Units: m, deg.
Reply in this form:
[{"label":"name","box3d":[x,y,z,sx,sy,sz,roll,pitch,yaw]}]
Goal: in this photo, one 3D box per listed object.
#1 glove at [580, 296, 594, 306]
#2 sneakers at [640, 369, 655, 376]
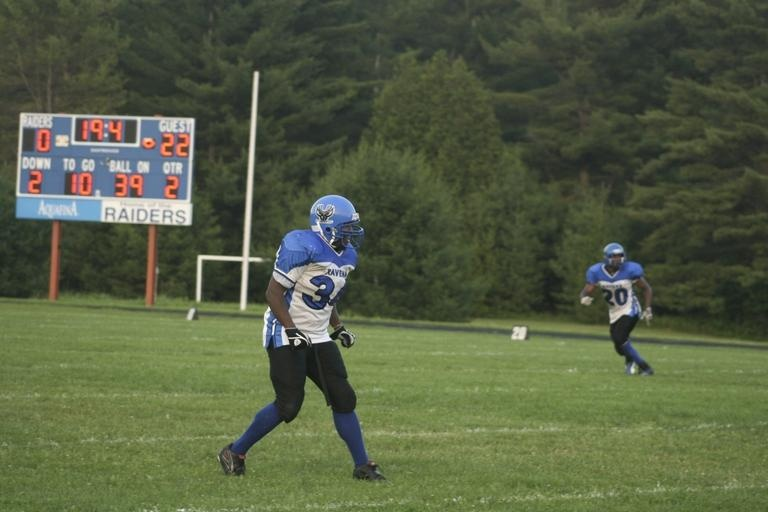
[{"label":"glove","box3d":[6.109,1.354,48.508,0.520,0.336,0.691,1,-5,4]},{"label":"sneakers","box3d":[7.751,3.478,47.689,0.288,0.275,0.202,0,-1,1]}]
